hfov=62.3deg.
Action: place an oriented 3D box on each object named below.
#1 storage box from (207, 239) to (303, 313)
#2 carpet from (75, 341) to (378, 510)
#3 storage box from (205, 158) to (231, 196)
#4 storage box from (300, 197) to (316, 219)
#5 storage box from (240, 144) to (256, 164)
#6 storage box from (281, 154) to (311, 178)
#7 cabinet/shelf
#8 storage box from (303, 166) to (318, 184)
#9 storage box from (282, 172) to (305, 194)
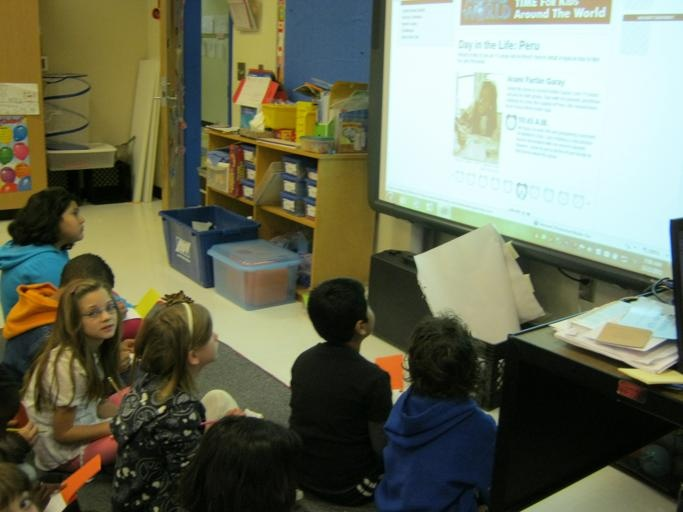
[{"bbox_3d":[-0.583,0.080,3.763,0.436,0.289,0.508,-5,14,-31],"label":"storage box"},{"bbox_3d":[-0.384,0.545,1.798,0.514,0.123,0.480,30,33,28],"label":"carpet"},{"bbox_3d":[-0.980,-0.619,4.473,0.220,0.240,0.336,-3,8,-33],"label":"storage box"},{"bbox_3d":[-0.211,-0.315,3.746,0.118,0.151,0.123,2,7,-27],"label":"storage box"},{"bbox_3d":[-0.687,-0.753,4.187,0.121,0.120,0.173,-2,11,-35],"label":"storage box"},{"bbox_3d":[-0.320,-0.599,3.841,0.126,0.104,0.191,-6,12,-37],"label":"storage box"},{"bbox_3d":[-0.317,-0.254,3.742,0.377,0.728,1.154,-7,19,-36],"label":"cabinet/shelf"},{"bbox_3d":[-0.204,-0.526,3.705,0.045,0.098,0.121,-9,15,-33],"label":"storage box"},{"bbox_3d":[-0.334,-0.494,3.905,0.112,0.079,0.168,-5,13,-37],"label":"storage box"}]
